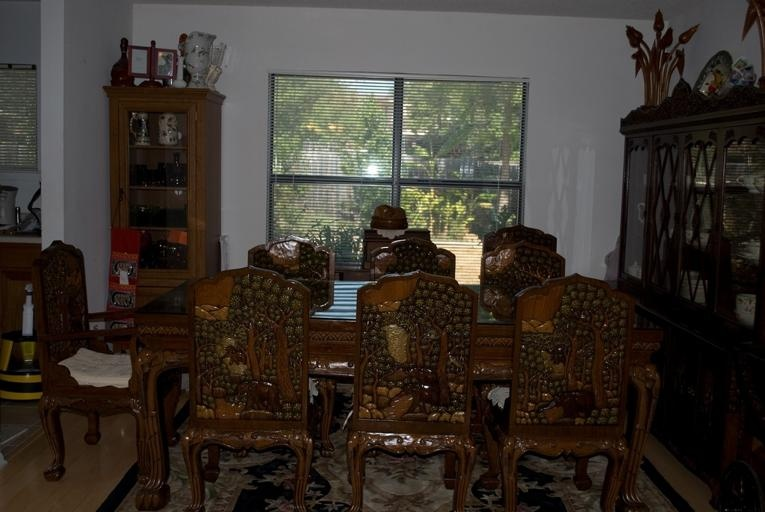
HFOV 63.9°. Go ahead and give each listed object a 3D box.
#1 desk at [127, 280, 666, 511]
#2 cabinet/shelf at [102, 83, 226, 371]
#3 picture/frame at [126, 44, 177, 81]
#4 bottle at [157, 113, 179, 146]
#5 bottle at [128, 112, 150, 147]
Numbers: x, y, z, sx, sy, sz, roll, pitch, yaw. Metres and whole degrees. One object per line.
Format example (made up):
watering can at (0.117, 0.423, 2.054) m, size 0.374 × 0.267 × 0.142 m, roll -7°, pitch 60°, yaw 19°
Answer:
desk at (0.102, 0.822, 3.939) m, size 2.966 × 1.116 × 1.147 m, roll 1°, pitch 8°, yaw 2°
cabinet/shelf at (-2.116, -0.481, 5.597) m, size 0.900 × 2.136 × 0.549 m, roll -11°, pitch 30°, yaw -41°
picture/frame at (-2.029, -1.669, 5.356) m, size 0.337 × 0.255 × 0.191 m, roll 1°, pitch 13°, yaw -5°
bottle at (-1.862, -1.085, 5.333) m, size 0.200 × 0.273 × 0.033 m, roll 2°, pitch 8°, yaw 10°
bottle at (-2.117, -1.090, 5.325) m, size 0.167 × 0.285 × 0.026 m, roll -1°, pitch 8°, yaw -10°
